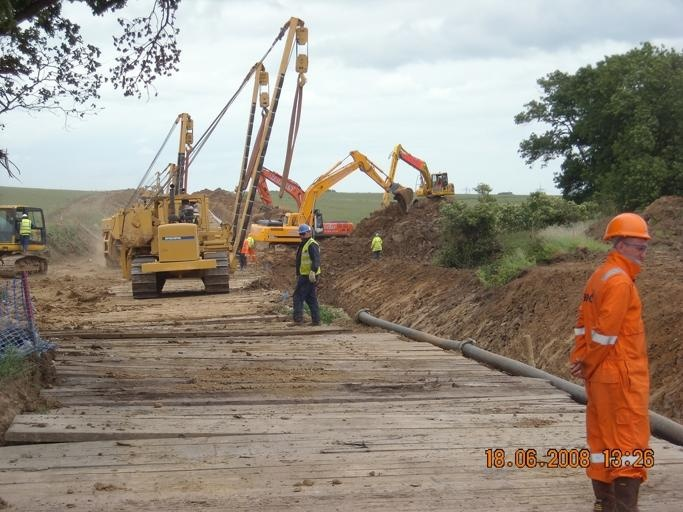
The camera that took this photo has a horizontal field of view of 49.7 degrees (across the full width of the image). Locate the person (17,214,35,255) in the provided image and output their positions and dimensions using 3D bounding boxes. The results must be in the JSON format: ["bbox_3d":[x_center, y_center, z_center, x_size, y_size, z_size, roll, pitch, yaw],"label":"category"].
[{"bbox_3d":[-11.672,-0.818,27.099,0.408,1.475,0.963,-3,10,-24],"label":"person"}]

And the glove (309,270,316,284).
[{"bbox_3d":[-0.532,0.400,13.262,0.123,0.173,0.169,-4,3,-4],"label":"glove"}]

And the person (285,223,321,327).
[{"bbox_3d":[-0.637,0.373,13.556,0.510,1.896,1.139,0,9,-3],"label":"person"}]

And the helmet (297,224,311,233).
[{"bbox_3d":[-0.687,-0.477,13.370,0.176,0.163,0.164,17,28,9],"label":"helmet"}]

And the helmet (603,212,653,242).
[{"bbox_3d":[2.574,-0.233,6.699,0.319,0.189,0.264,-2,-4,33],"label":"helmet"}]
